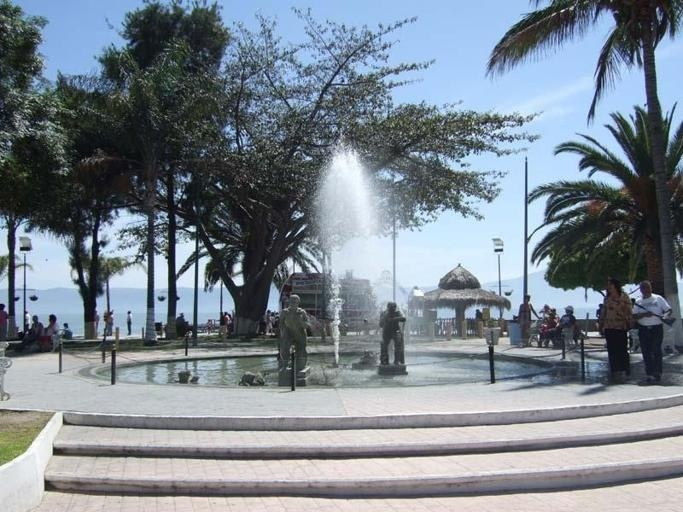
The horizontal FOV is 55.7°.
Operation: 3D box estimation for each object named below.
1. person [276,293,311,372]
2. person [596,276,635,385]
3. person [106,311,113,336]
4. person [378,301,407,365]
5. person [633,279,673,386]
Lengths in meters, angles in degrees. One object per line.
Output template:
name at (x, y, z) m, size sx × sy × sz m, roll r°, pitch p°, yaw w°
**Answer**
person at (-1.179, 1.853, 16.038) m, size 0.712 × 1.868 × 1.009 m, roll 0°, pitch -6°, yaw -5°
person at (6.477, 1.674, 15.176) m, size 0.712 × 2.359 × 0.758 m, roll -3°, pitch -6°, yaw 23°
person at (-15.150, 4.348, 42.318) m, size 0.338 × 1.545 × 2.575 m, roll 1°, pitch -7°, yaw -17°
person at (1.426, 2.089, 17.827) m, size 0.791 × 1.706 × 0.788 m, roll 1°, pitch -6°, yaw -16°
person at (7.110, 1.691, 14.760) m, size 0.716 × 2.248 × 0.524 m, roll -4°, pitch -7°, yaw 29°
